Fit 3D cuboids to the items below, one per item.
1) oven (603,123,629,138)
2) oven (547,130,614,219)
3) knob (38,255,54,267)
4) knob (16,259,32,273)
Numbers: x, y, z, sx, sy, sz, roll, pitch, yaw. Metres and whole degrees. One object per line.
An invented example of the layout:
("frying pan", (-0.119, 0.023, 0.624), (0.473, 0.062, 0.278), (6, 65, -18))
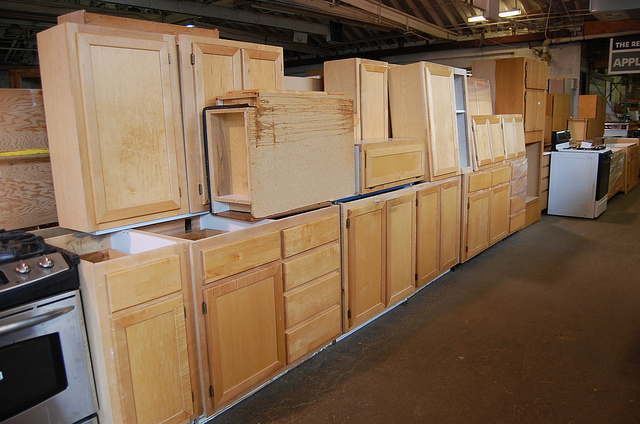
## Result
("oven", (8.060, -2.197, 12.179), (0.599, 0.352, 0.335), (6, 15, 33))
("oven", (4.628, -0.699, 7.954), (0.953, 1.300, 1.093), (11, 16, 41))
("knob", (-1.698, 0.295, 2.775), (0.069, 0.026, 0.076), (4, 30, -17))
("knob", (-1.805, 0.332, 2.733), (0.071, 0.039, 0.067), (5, 14, 1))
